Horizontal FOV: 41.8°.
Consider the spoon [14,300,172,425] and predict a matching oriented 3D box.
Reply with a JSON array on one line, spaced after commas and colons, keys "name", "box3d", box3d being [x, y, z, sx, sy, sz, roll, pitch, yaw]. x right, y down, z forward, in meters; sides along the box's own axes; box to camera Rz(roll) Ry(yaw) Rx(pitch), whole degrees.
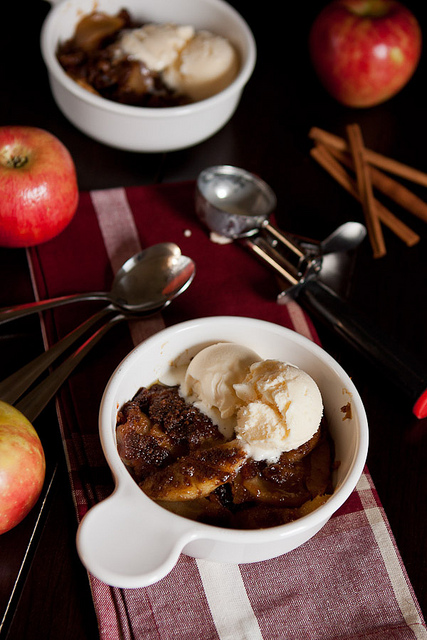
[{"name": "spoon", "box3d": [-0.137, 0.014, 0.815, 0.053, 0.040, 0.374, 48, 45, -11]}]

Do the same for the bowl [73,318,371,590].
[{"name": "bowl", "box3d": [0.014, 0.120, 0.589, 0.294, 0.108, 0.291, 0, 49, 0]}]

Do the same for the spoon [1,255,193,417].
[{"name": "spoon", "box3d": [-0.123, 0.008, 0.828, 0.084, 0.054, 0.412, 32, 50, 24]}]
